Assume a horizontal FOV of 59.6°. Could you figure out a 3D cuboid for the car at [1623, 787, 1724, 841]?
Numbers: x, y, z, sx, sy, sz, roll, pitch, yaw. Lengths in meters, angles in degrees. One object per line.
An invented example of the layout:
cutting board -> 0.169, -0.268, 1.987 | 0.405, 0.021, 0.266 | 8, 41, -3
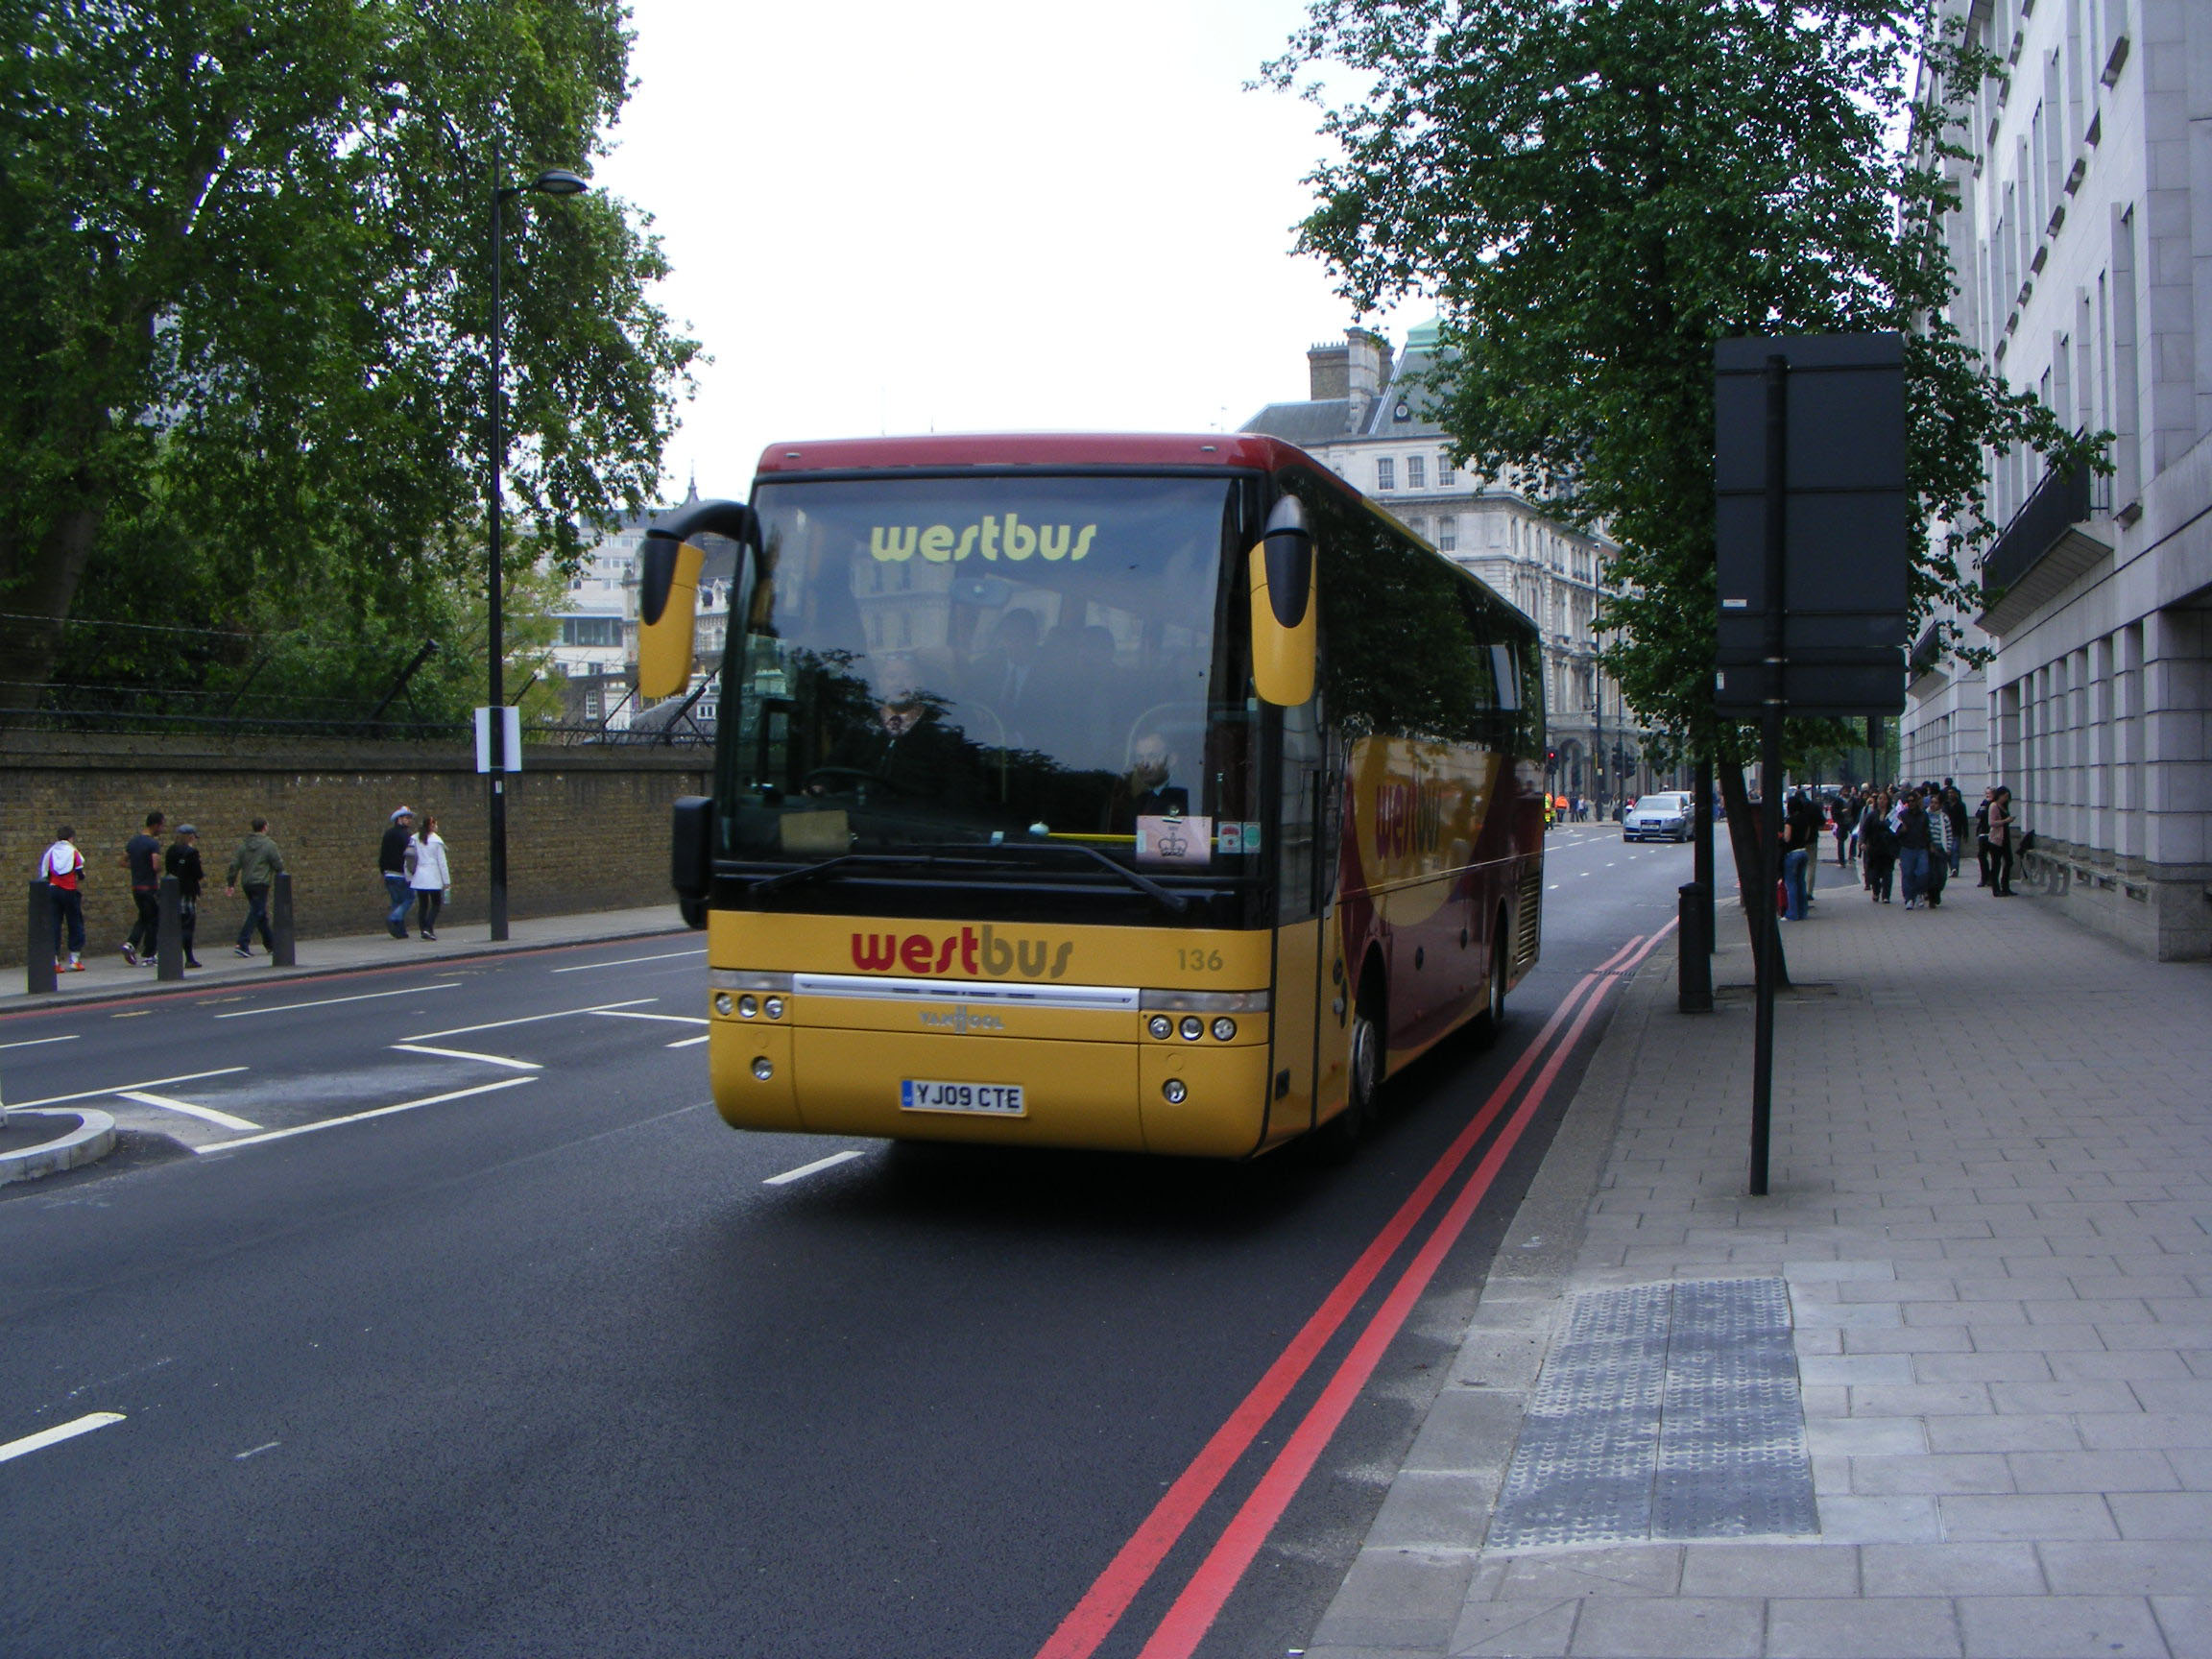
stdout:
car -> 18.696, -0.492, 65.037 | 1.965, 1.504, 2.713 | 0, 4, 21
